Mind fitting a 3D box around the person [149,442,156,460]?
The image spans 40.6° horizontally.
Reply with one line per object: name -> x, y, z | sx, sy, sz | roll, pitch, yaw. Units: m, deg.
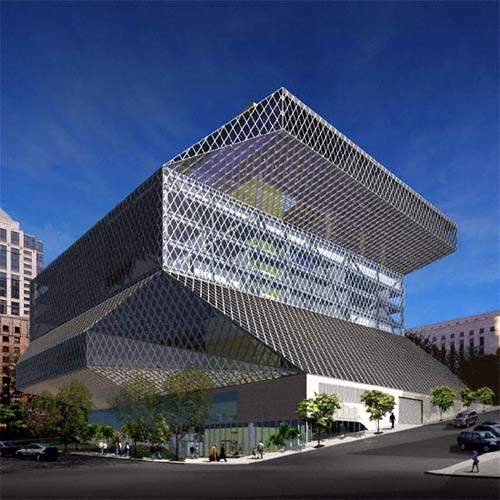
person -> -9.070, 18.856, 63.790 | 0.876, 1.468, 3.594 | 4, -19, -7
